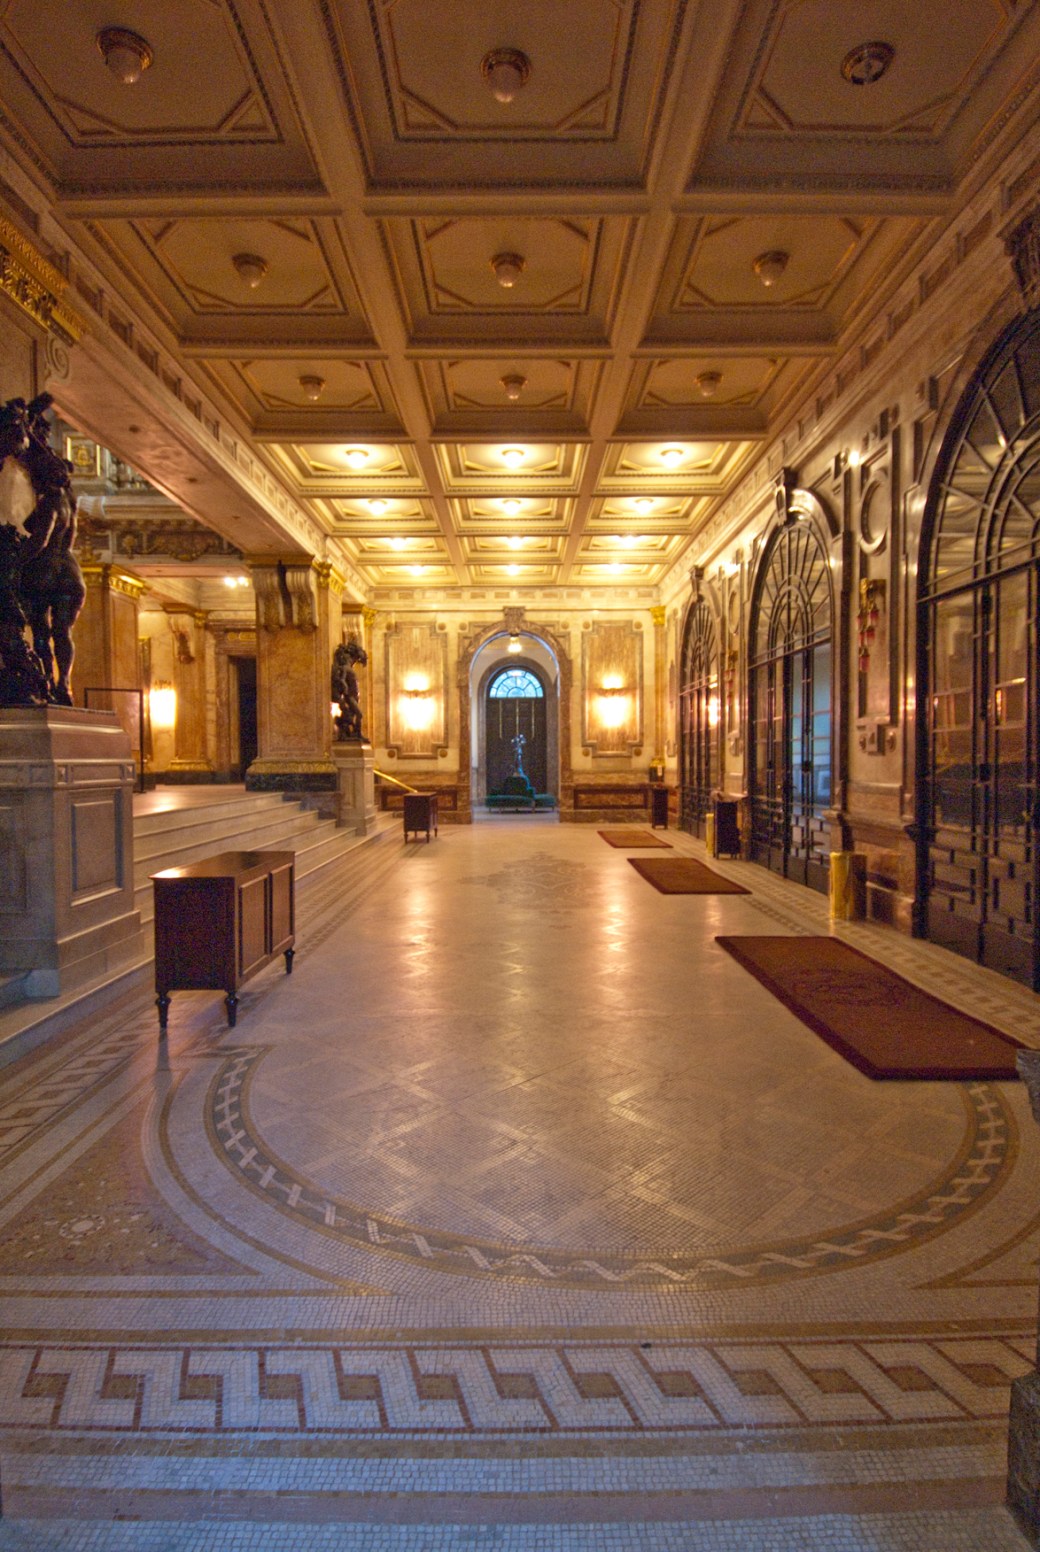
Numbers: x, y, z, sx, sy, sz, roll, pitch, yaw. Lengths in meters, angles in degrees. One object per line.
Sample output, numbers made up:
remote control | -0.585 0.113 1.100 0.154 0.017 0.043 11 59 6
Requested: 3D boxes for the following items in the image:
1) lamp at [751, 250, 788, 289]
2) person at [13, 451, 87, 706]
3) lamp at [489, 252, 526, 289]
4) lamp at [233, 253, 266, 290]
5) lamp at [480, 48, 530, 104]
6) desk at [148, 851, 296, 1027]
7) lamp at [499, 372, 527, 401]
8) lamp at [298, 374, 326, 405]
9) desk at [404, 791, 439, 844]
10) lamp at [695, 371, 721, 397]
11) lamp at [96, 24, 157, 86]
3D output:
lamp | 1.560 -3.142 6.516 0.153 0.120 0.153 0 -4 2
person | -2.367 -1.024 5.317 0.237 1.333 0.383 -1 4 -8
lamp | -0.074 -3.185 6.575 0.166 0.130 0.172 -2 -12 3
lamp | -1.680 -3.151 6.541 0.153 0.117 0.151 2 -3 -39
lamp | -0.068 -3.187 4.797 0.211 0.159 0.219 -2 -15 -2
desk | -1.451 0.755 5.317 0.385 0.646 1.331 -1 1 -2
lamp | -0.037 -3.181 8.559 0.148 0.118 0.151 0 1 -37
lamp | -1.666 -3.152 8.431 0.207 0.210 0.195 -3 -13 -6
desk | -1.328 0.568 14.016 0.416 0.647 0.804 -1 4 -8
lamp | 1.520 -3.139 8.405 0.125 0.105 0.128 0 1 38
lamp | -1.749 -3.192 4.697 0.188 0.147 0.195 -2 -3 5
